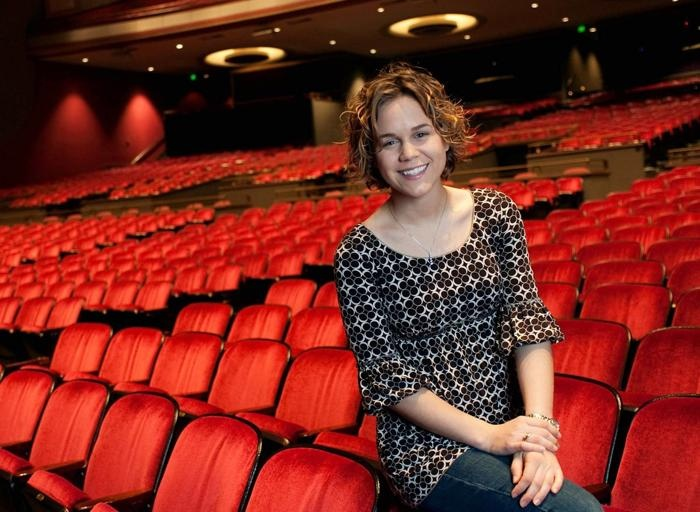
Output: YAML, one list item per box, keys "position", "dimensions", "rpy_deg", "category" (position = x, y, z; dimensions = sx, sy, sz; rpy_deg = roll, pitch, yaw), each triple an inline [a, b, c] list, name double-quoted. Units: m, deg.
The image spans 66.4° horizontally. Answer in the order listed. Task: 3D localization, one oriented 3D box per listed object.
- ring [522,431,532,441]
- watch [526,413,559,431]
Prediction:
- position: [0.410, 0.420, 1.239]
  dimensions: [0.011, 0.016, 0.006]
  rpy_deg: [-4, -32, 36]
  category: "ring"
- position: [0.470, 0.424, 1.305]
  dimensions: [0.058, 0.019, 0.060]
  rpy_deg: [29, 2, -13]
  category: "watch"
